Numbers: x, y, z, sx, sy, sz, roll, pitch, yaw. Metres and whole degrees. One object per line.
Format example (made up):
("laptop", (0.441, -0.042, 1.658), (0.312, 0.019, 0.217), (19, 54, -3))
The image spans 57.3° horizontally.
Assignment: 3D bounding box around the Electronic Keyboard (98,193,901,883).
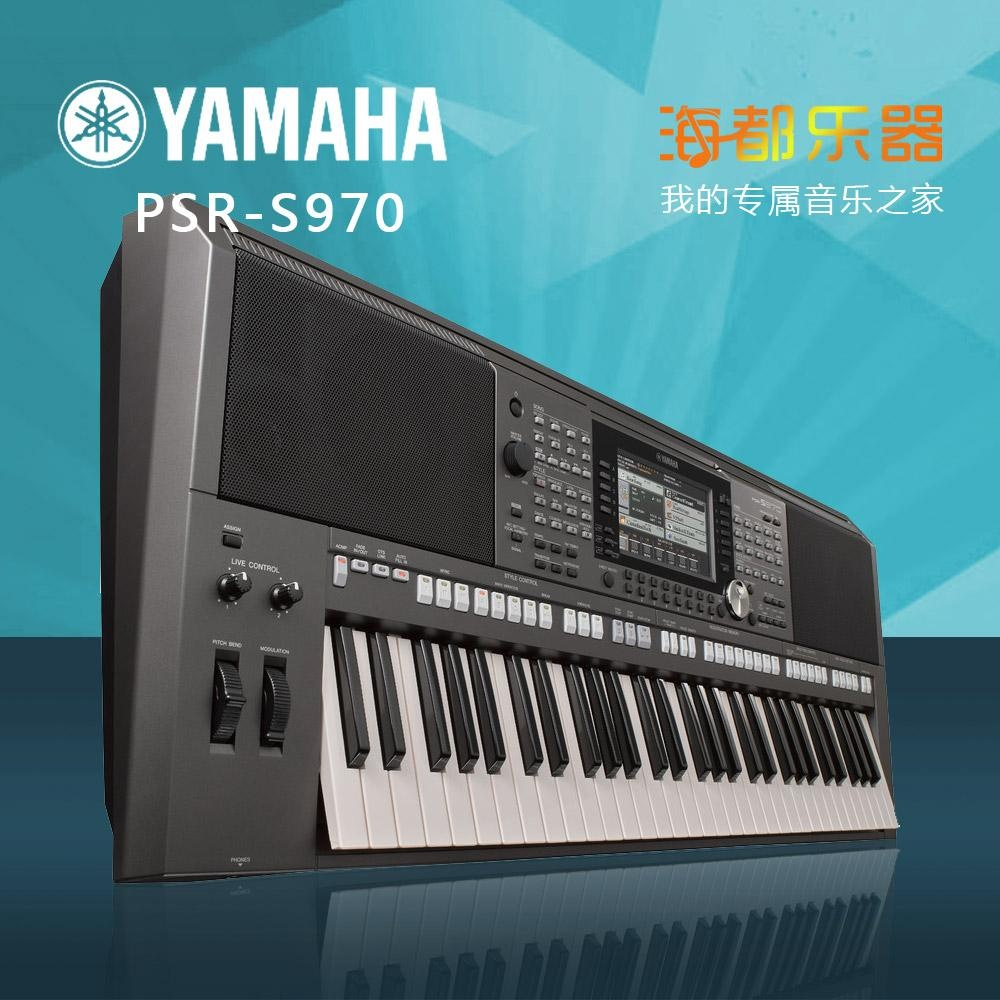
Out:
("Electronic Keyboard", (0.191, 0.240, 2.263), (2.293, 1.336, 0.322), (12, -18, -44))
